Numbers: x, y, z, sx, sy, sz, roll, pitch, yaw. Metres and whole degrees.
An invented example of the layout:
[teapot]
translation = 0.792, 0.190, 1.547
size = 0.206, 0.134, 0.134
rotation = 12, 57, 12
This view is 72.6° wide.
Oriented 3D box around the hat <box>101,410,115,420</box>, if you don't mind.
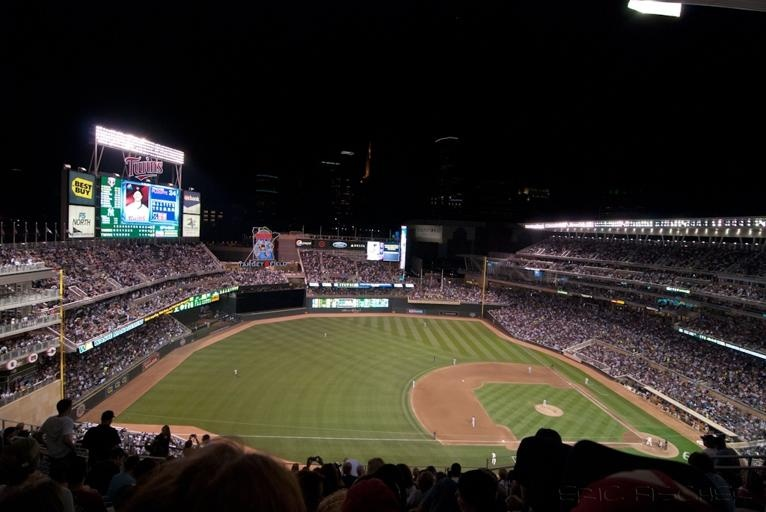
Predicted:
[hat]
translation = -15.907, 9.225, 29.966
size = 0.556, 0.587, 0.637
rotation = 1, 6, -22
